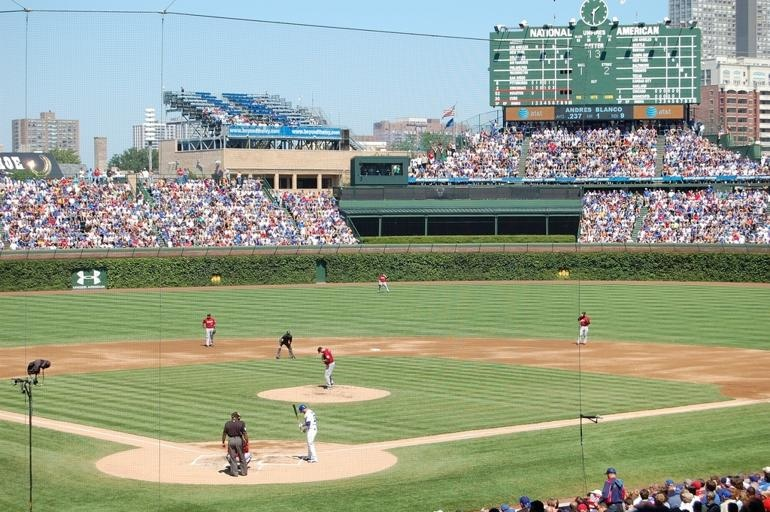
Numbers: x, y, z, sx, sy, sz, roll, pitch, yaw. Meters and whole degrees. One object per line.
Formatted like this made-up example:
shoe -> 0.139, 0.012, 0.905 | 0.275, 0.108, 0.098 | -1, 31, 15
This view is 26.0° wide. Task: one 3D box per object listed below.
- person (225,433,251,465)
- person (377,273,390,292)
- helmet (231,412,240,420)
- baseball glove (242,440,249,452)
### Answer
person -> -7.278, 10.113, 88.062 | 1.146, 1.519, 0.570 | 0, -2, 24
person -> -0.059, 1.998, 123.229 | 0.703, 0.414, 1.409 | 5, 34, -1
helmet -> -7.770, 8.340, 87.549 | 0.450, 0.429, 0.377 | -2, 4, 0
baseball glove -> -7.271, 9.909, 87.620 | 0.401, 0.294, 0.679 | 12, 43, -6
